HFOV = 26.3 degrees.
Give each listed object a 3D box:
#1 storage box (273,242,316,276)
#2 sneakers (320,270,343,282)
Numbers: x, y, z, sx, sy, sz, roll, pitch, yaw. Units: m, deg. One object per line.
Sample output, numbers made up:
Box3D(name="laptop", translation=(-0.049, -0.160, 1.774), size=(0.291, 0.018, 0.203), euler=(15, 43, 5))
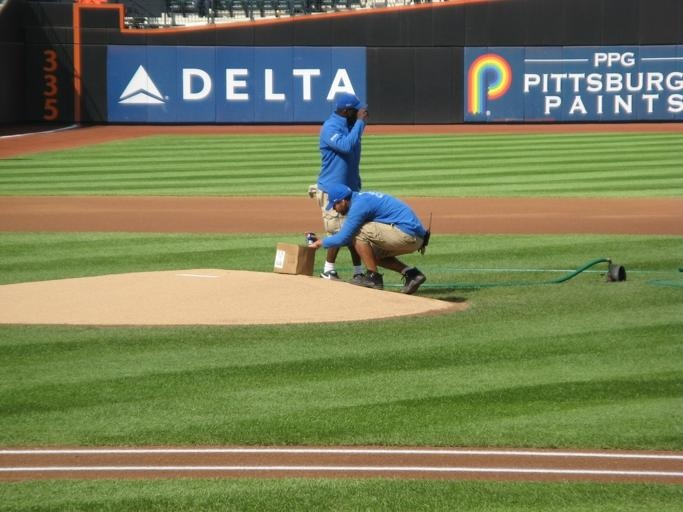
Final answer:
Box3D(name="storage box", translation=(-0.708, 0.056, 22.343), size=(0.627, 0.380, 0.593), euler=(7, -1, -11))
Box3D(name="sneakers", translation=(-0.180, 0.291, 22.471), size=(0.284, 0.109, 0.130), euler=(6, 6, 40))
